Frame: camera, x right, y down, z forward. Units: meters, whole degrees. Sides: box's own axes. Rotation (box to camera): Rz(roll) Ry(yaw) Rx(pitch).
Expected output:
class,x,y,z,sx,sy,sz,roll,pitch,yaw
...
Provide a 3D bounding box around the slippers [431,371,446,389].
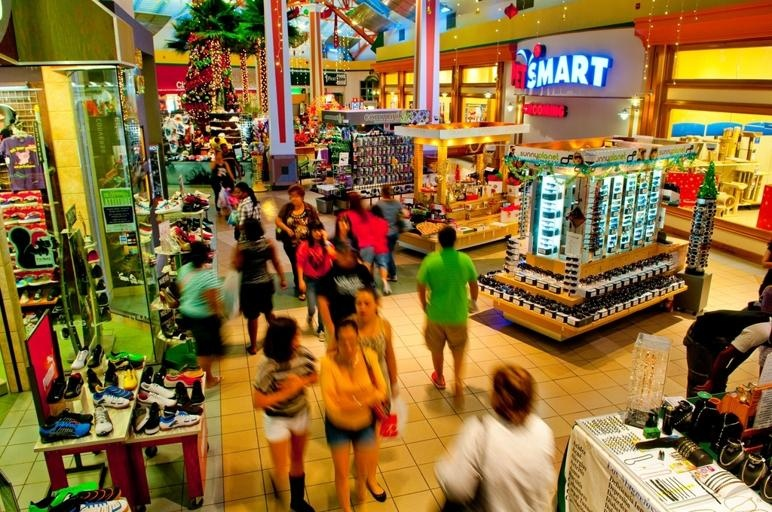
class,x,y,z,sx,sy,sz,roll,pitch,yaw
slippers,0.681,1.593,6.386,0.123,0.116,0.291,0,0,-4

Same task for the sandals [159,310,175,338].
class,x,y,z,sx,sy,sz,roll,pitch,yaw
sandals,-3.043,0.918,6.860,0.193,0.356,0.277,-10,19,-22

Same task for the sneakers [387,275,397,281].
class,x,y,z,sx,sy,sz,roll,pitch,yaw
sneakers,0.128,0.390,9.248,0.173,0.096,0.164,-3,-13,-13

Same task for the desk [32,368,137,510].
class,x,y,z,sx,sy,sz,roll,pitch,yaw
desk,-2.775,1.676,4.557,0.758,0.843,1.267,-2,29,-12

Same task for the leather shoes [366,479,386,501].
class,x,y,z,sx,sy,sz,roll,pitch,yaw
leather shoes,-0.090,2.311,4.865,0.193,0.184,0.110,-3,18,-3

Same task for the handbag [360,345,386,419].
class,x,y,z,sx,sy,sz,roll,pitch,yaw
handbag,-0.103,1.155,4.336,0.184,0.711,0.121,2,18,13

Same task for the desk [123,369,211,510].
class,x,y,z,sx,sy,sz,roll,pitch,yaw
desk,-2.207,1.845,4.896,0.648,0.763,1.090,-3,30,-14
